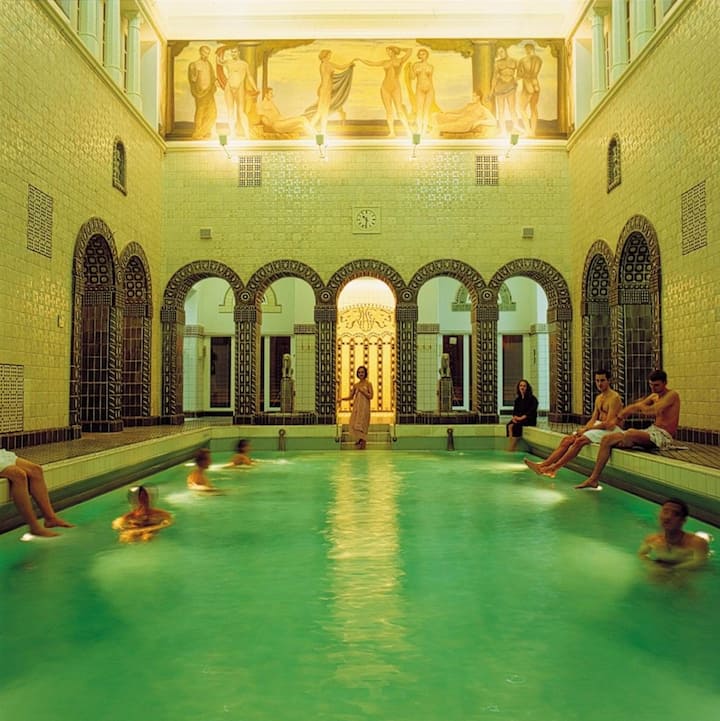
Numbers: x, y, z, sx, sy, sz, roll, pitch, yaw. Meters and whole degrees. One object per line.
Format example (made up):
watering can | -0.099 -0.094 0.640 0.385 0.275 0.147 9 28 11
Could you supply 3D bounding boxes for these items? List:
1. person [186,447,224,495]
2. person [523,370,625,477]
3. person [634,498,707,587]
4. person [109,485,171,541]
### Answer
person | -2.418 1.617 9.215 0.453 0.629 1.680 1 -3 -16
person | 3.030 0.864 8.507 1.616 1.151 0.560 -13 0 -17
person | 2.578 1.412 4.931 0.541 0.600 0.773 -2 -4 30
person | -2.432 1.678 6.576 0.449 0.336 0.906 -4 30 -5
